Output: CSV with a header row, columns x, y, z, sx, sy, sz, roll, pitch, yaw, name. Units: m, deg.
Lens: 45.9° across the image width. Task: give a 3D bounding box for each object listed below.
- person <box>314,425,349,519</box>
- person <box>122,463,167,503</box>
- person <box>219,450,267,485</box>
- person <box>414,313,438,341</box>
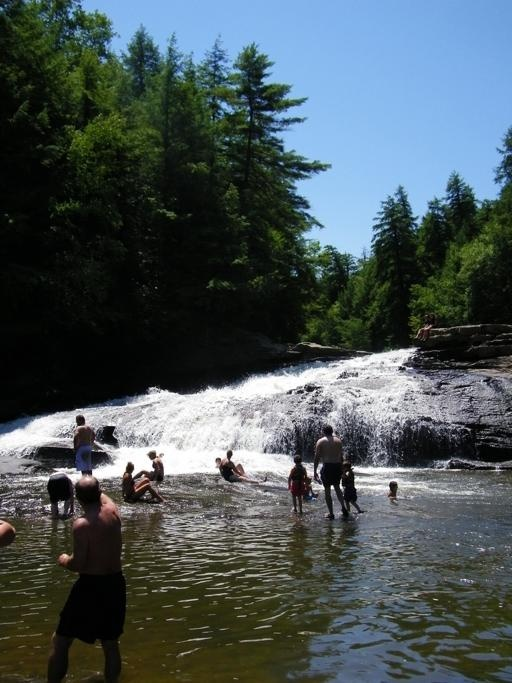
x,y,z,sx,sy,sz,roll,pitch,yaw,name
1.114,1.964,9.212,0.458,1.359,1.057,-4,-7,6,person
-2.059,2.463,10.684,0.653,0.688,1.495,-2,-7,-14,person
-0.410,2.659,12.697,0.637,0.728,0.955,2,-9,-41,person
6.511,-0.547,23.207,0.699,1.192,1.543,-6,-7,20,person
